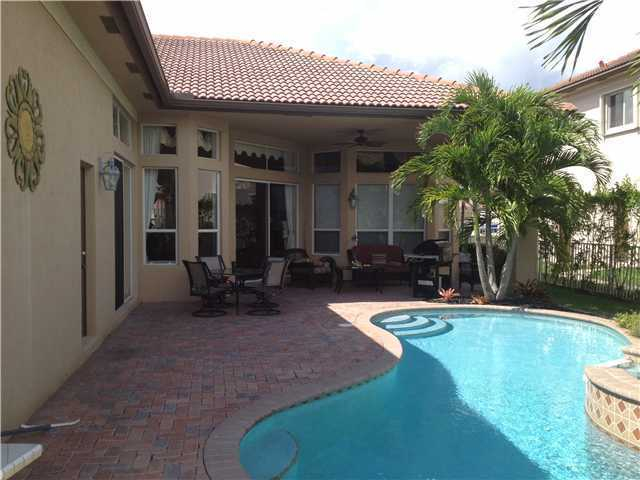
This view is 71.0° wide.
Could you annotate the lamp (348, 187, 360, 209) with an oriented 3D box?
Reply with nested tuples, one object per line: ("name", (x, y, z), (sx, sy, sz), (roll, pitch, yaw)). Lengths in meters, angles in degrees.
("lamp", (1.080, -1.319, 14.040), (0.384, 0.667, 0.327), (1, 6, -14))

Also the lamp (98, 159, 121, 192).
("lamp", (-3.456, -1.089, 7.416), (0.268, 0.546, 0.459), (0, 7, -21))

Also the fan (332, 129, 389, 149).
("fan", (1.148, -2.948, 13.263), (1.410, 0.429, 2.005), (3, 6, 1))
